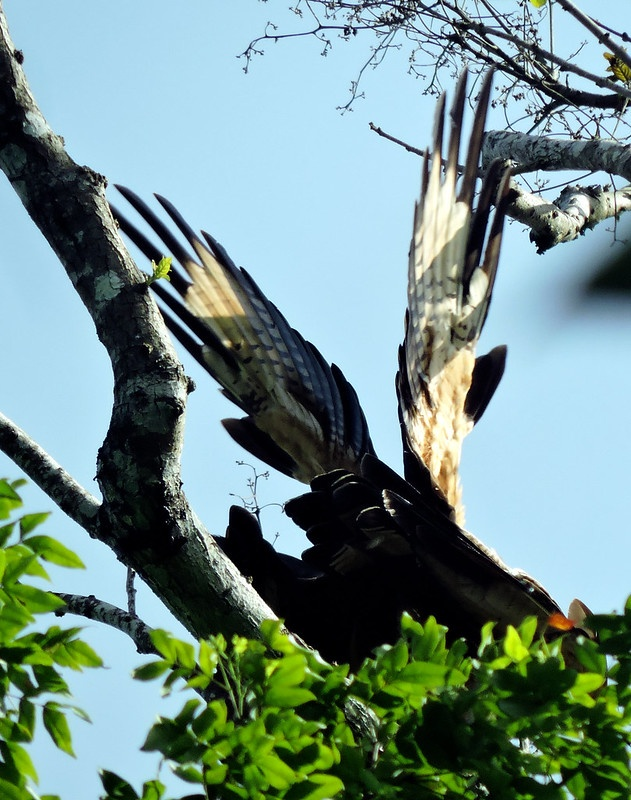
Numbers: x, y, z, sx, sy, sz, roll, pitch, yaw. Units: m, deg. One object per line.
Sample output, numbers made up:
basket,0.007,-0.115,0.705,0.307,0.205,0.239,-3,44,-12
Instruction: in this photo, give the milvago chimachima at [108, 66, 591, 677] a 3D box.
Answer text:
milvago chimachima,0.265,-0.200,7.677,1.563,2.596,0.825,6,-48,14
